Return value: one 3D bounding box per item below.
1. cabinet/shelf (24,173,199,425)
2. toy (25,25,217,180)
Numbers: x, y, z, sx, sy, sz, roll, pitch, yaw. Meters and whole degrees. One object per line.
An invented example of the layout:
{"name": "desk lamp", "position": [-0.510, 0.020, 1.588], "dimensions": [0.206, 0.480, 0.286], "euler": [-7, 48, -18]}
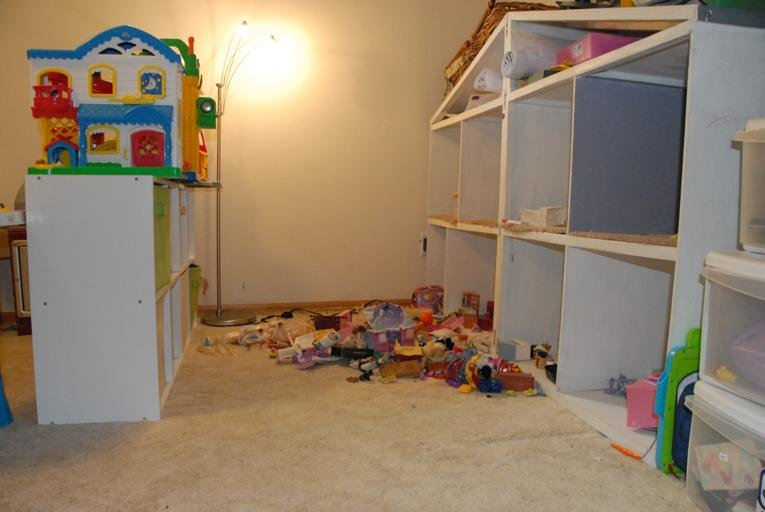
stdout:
{"name": "cabinet/shelf", "position": [-1.410, 0.173, 3.012], "dimensions": [0.616, 1.198, 0.663], "euler": [0, 8, -4]}
{"name": "toy", "position": [-1.489, -0.889, 3.408], "dimensions": [0.973, 0.733, 0.856], "euler": [0, 6, -8]}
